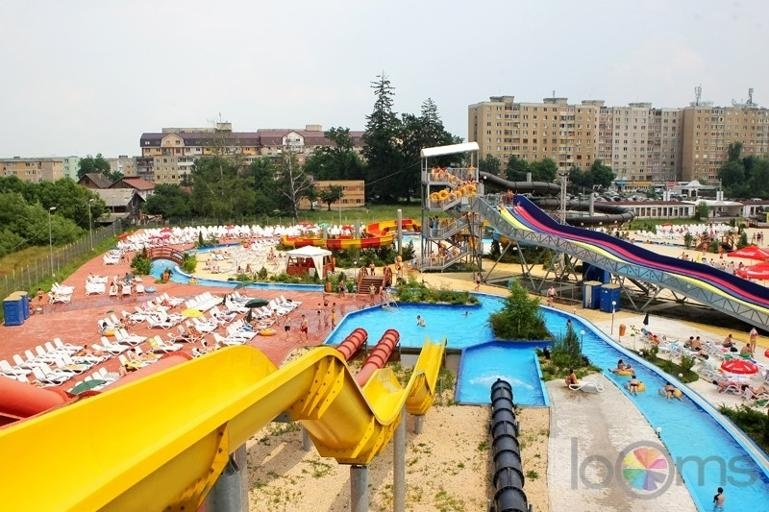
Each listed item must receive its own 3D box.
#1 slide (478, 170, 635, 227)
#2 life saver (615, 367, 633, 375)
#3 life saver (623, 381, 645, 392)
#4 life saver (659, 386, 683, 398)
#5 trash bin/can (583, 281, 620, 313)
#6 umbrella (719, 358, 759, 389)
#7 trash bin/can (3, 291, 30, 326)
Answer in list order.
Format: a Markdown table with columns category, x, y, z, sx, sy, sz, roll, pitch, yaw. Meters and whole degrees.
| category | x | y | z | sx | sy | sz | roll | pitch | yaw |
| --- | --- | --- | --- | --- | --- | --- | --- | --- | --- |
| slide | 15.115 | -4.603 | 49.864 | 9.822 | 3.792 | 7.059 | 0 | 5 | 0 |
| life saver | 9.533 | 4.615 | 23.059 | 0.338 | 0.117 | 0.344 | -2 | 2 | -28 |
| life saver | 9.352 | 4.902 | 21.712 | 0.432 | 0.152 | 0.455 | -5 | 9 | 15 |
| life saver | 10.525 | 5.021 | 21.406 | 0.507 | 0.199 | 0.497 | 4 | 0 | -40 |
| trash bin/can | 11.718 | 2.233 | 31.556 | 1.076 | 1.412 | 1.768 | -4 | 1 | -30 |
| umbrella | 13.094 | 4.315 | 21.777 | 1.146 | 0.864 | 1.156 | -11 | 24 | -19 |
| trash bin/can | -18.456 | 2.745 | 29.343 | 0.498 | 0.923 | 1.428 | 0 | 8 | -9 |
